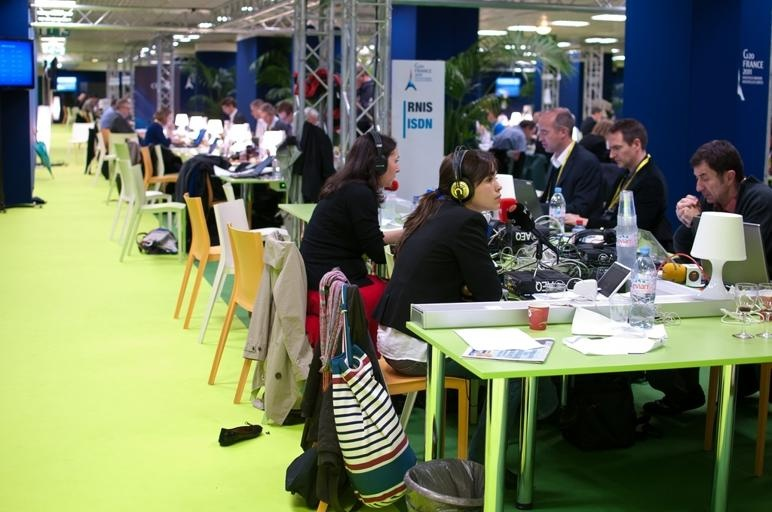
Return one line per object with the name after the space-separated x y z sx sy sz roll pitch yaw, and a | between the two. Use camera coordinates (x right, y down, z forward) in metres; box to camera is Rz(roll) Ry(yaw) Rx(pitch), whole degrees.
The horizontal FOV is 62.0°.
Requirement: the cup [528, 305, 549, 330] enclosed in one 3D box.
0.711 0.288 2.990 0.101 0.107 0.105 0 -1 0 | cup

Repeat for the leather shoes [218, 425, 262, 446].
-0.915 1.110 3.973 0.267 0.099 0.096 -12 13 -36 | leather shoes

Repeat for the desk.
0.930 0.500 2.756 1.291 0.710 1.040 -3 9 -14 | desk

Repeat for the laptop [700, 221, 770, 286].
1.895 0.027 3.498 0.293 0.401 0.414 -1 2 -26 | laptop

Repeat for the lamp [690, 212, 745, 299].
1.659 -0.007 3.202 0.239 0.421 0.162 4 14 16 | lamp

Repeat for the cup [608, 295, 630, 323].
1.128 0.257 3.096 0.107 0.127 0.111 0 -2 0 | cup

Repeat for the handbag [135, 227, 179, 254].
-3.021 -0.183 8.427 0.395 0.165 0.412 3 11 16 | handbag

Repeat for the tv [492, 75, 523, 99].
5.227 -7.246 27.313 1.100 0.827 1.081 -1 14 -5 | tv

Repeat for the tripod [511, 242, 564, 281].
0.897 0.019 3.854 0.240 0.185 0.243 -4 14 -17 | tripod

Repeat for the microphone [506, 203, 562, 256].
0.952 -0.166 4.164 0.120 0.405 0.105 -45 5 -34 | microphone

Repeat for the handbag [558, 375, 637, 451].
1.305 0.948 4.041 0.411 0.413 0.421 0 -1 -4 | handbag
